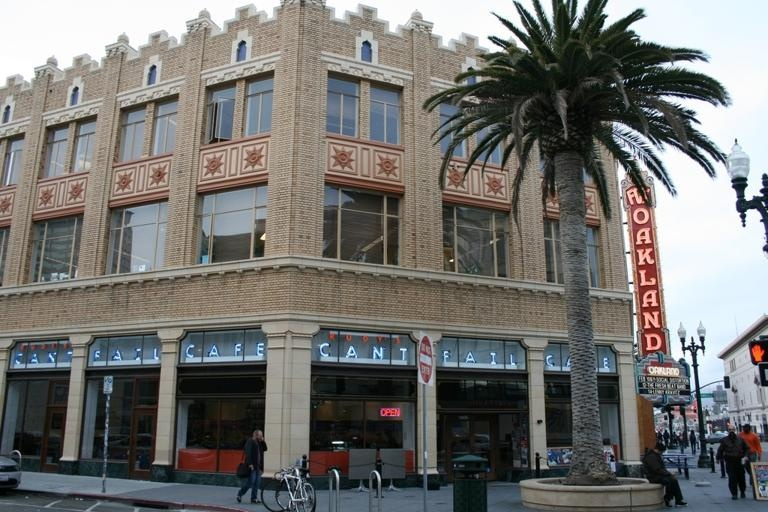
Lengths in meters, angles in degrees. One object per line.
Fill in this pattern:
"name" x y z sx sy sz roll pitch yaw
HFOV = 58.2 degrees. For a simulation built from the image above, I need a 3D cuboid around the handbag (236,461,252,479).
"handbag" -5.084 7.712 25.173 0.486 0.492 0.652 3 -20 -14
